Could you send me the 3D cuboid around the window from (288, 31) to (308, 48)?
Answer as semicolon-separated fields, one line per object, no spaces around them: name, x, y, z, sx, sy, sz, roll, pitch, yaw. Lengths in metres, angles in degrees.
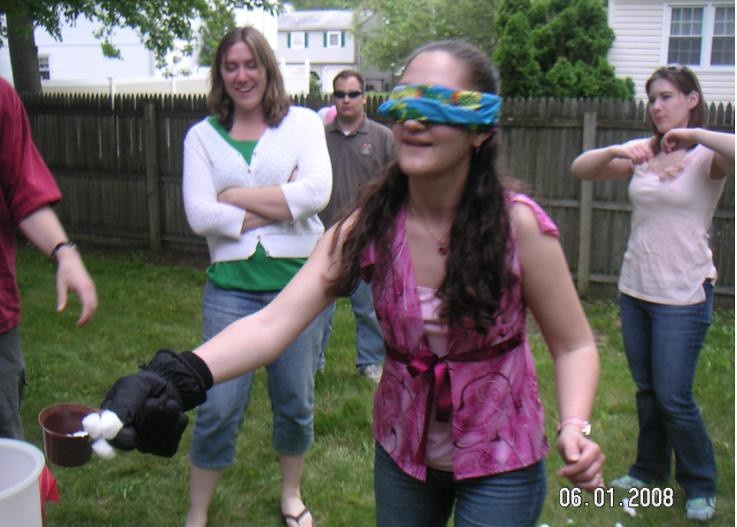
window;-6.448;-20.681;59.112;1.467;1.119;1.646;0;1;3

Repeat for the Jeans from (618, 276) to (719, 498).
Jeans;1.914;0.801;4.130;0.595;1.361;0.348;3;13;25

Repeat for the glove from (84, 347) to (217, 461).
glove;-0.715;0.473;2.147;0.397;0.307;0.195;-48;-3;-32

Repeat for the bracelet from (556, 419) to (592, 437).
bracelet;0.729;0.612;2.317;0.079;0.042;0.093;1;9;-12

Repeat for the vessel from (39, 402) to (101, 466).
vessel;-1.008;0.608;2.232;0.191;0.174;0.224;2;6;3

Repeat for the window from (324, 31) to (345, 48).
window;-3.015;-20.092;57.999;2.052;1.597;1.234;0;4;-1

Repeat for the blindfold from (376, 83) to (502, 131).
blindfold;0.278;-0.585;2.416;0.275;0.120;0.233;6;4;13
